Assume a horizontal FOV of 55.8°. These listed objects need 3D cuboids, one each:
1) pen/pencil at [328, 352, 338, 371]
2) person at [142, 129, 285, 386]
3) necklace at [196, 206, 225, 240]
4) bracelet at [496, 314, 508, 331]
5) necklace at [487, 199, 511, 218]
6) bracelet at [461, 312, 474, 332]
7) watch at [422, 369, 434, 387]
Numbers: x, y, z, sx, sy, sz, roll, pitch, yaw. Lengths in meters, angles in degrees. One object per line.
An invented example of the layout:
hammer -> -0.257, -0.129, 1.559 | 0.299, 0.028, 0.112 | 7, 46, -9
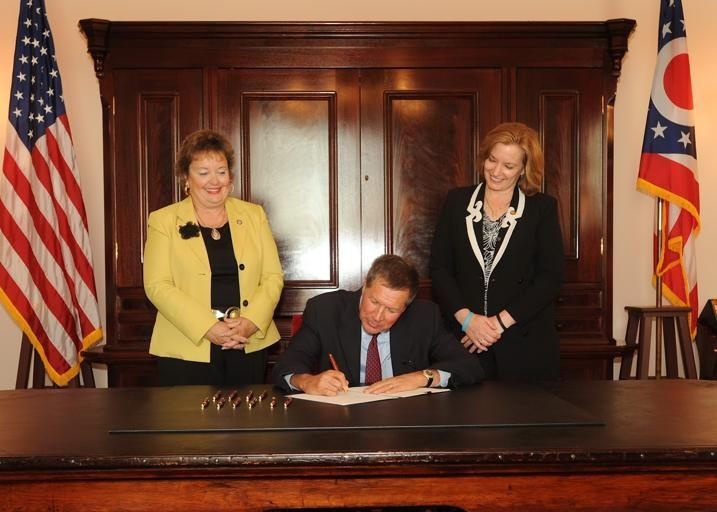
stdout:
pen/pencil -> -0.113, 0.470, 2.987 | 0.022, 0.135, 0.019 | -14, 48, 6
person -> -0.751, 0.329, 3.607 | 0.710, 1.889, 0.668 | -8, 20, -24
necklace -> -0.758, -0.184, 3.517 | 0.137, 0.186, 0.064 | -5, -5, -17
bracelet -> 0.736, 0.346, 3.459 | 0.059, 0.093, 0.037 | 2, 11, 10
necklace -> 0.734, -0.248, 3.594 | 0.087, 0.086, 0.021 | 4, -9, 14
bracelet -> 0.559, 0.337, 3.482 | 0.020, 0.084, 0.081 | 24, 21, 21
watch -> 0.300, 0.518, 2.866 | 0.038, 0.063, 0.064 | 4, 1, 5
